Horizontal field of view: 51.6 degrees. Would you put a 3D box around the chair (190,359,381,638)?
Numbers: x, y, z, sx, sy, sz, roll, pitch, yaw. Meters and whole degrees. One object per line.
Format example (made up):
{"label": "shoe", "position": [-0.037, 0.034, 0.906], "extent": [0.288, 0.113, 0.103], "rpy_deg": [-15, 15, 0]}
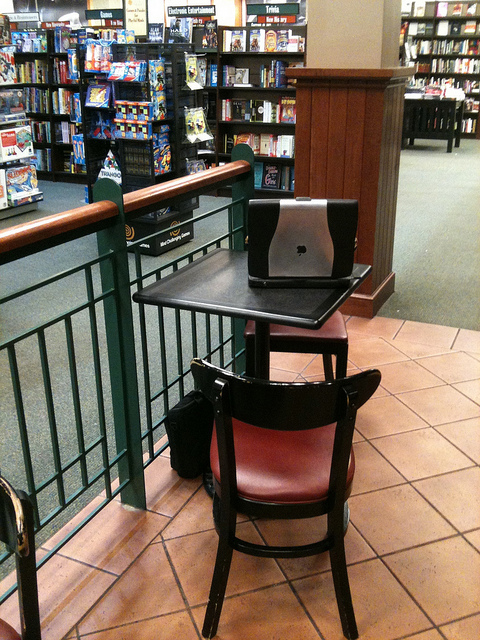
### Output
{"label": "chair", "position": [0.080, 0.372, 1.128], "extent": [0.367, 0.741, 0.376], "rpy_deg": [-3, 23, -7]}

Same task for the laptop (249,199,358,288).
{"label": "laptop", "position": [0.156, -0.208, 1.260], "extent": [0.319, 0.268, 0.193], "rpy_deg": [1, 17, 6]}

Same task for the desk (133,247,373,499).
{"label": "desk", "position": [0.026, 0.073, 1.372], "extent": [0.382, 0.394, 0.404], "rpy_deg": [13, 35, 22]}
